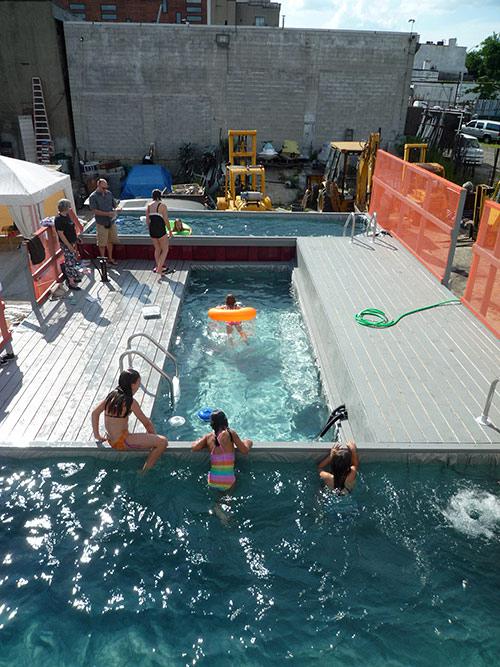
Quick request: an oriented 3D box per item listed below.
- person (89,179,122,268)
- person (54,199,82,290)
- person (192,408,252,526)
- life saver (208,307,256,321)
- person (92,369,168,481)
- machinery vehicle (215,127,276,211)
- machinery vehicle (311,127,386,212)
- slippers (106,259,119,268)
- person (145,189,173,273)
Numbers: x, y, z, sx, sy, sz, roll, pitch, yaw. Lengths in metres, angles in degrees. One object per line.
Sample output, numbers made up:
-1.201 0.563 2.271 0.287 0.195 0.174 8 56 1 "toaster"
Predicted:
-3.284 -2.441 9.160 0.523 2.032 0.890 -6 28 -16 "person"
-3.704 -1.793 8.244 0.398 1.814 0.612 -9 29 -21 "person"
-0.262 1.127 3.952 0.604 0.742 0.436 -1 27 -8 "person"
-0.344 -0.326 7.730 0.896 0.300 0.398 1 27 -3 "life saver"
-1.218 0.941 4.237 0.748 1.119 0.660 0 5 6 "person"
-0.191 -6.693 16.706 1.626 2.613 3.314 -2 5 7 "machinery vehicle"
4.313 -6.742 16.890 1.674 3.676 6.029 -5 29 0 "machinery vehicle"
-3.361 -1.708 9.894 0.127 0.153 0.376 -23 36 -31 "slippers"
-1.998 -2.247 9.015 0.553 1.818 0.547 -16 28 -35 "person"
